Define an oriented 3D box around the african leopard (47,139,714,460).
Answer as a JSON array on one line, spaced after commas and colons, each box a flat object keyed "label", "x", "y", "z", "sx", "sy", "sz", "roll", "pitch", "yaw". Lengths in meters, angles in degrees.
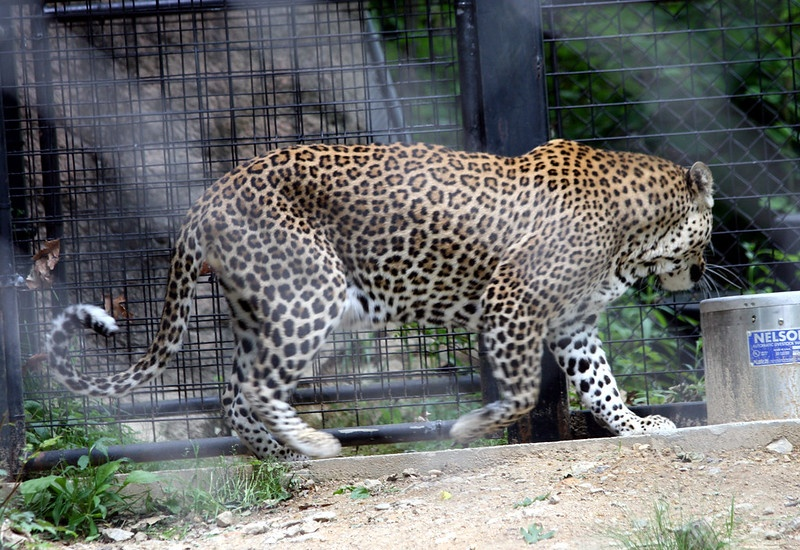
[{"label": "african leopard", "x": 0.000, "y": 0.217, "z": 7.192, "sx": 4.753, "sy": 2.154, "sz": 1.118, "roll": -2, "pitch": -2, "yaw": -10}]
